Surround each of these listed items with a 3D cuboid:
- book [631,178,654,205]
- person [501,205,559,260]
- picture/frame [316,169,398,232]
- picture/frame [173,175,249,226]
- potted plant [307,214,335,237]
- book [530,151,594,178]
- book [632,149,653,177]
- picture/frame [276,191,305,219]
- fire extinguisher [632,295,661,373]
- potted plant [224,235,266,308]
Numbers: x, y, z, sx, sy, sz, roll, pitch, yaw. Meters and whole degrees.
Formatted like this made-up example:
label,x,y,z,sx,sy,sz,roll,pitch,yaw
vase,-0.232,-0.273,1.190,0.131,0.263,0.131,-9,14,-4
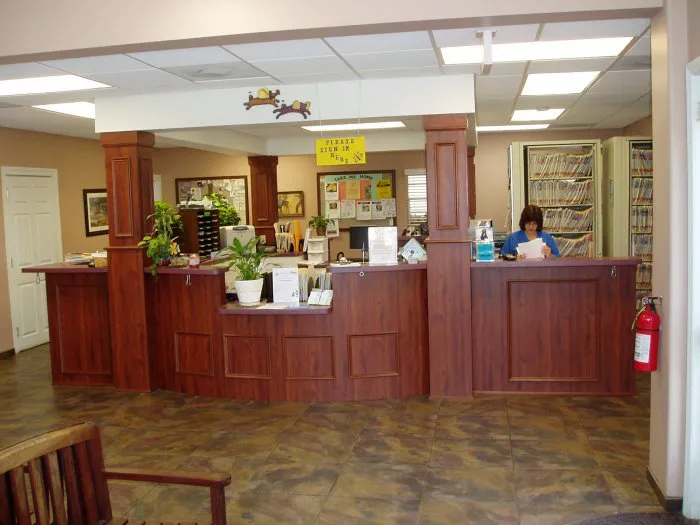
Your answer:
label,x,y,z,sx,sy,sz,roll,pitch,yaw
book,4.390,-1.074,8.028,0.293,0.405,0.115,-1,9,13
person,2.374,-0.390,6.900,0.985,0.851,0.555,1,-1,22
picture/frame,0.207,-1.462,12.192,2.077,1.308,0.081,1,8,12
picture/frame,-2.751,-1.260,10.313,1.710,1.395,0.058,0,7,1
potted plant,-0.684,-0.836,12.144,0.578,0.347,0.546,0,-2,5
book,3.225,-1.469,8.132,0.926,0.379,0.247,0,9,16
book,4.379,-1.503,8.007,0.268,0.406,0.187,1,10,26
picture/frame,-1.413,-1.404,12.713,0.937,0.707,0.084,0,0,8
fire extinguisher,2.116,0.507,3.766,0.158,0.498,0.160,-1,10,16
potted plant,-1.158,0.085,5.966,0.368,0.764,0.527,-5,9,-12
